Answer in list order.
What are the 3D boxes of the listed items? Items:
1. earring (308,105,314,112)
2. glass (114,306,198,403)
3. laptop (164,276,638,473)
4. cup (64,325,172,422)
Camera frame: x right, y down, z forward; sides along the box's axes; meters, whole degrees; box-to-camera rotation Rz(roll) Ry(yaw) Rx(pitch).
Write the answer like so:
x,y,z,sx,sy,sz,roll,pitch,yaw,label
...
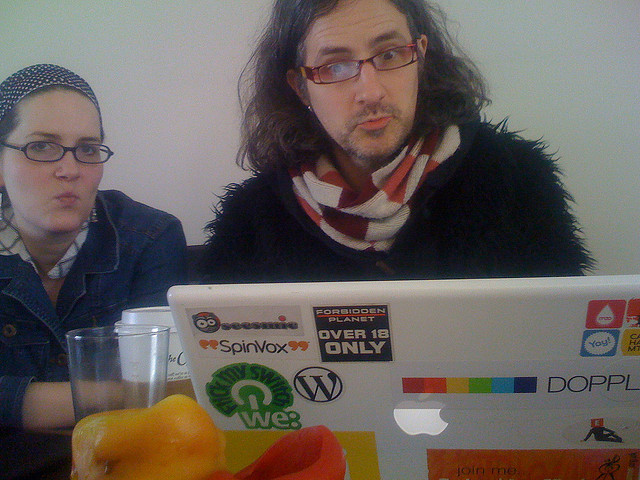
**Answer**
x,y,z,sx,sy,sz,roll,pitch,yaw,label
-0.033,-0.443,2.042,0.021,0.021,0.005,1,5,15,earring
-0.332,0.257,1.280,0.126,0.174,0.134,19,0,27,glass
0.168,0.225,1.009,0.582,0.368,0.401,-4,15,9,laptop
-0.368,0.241,1.129,0.204,0.205,0.186,0,10,-19,cup
